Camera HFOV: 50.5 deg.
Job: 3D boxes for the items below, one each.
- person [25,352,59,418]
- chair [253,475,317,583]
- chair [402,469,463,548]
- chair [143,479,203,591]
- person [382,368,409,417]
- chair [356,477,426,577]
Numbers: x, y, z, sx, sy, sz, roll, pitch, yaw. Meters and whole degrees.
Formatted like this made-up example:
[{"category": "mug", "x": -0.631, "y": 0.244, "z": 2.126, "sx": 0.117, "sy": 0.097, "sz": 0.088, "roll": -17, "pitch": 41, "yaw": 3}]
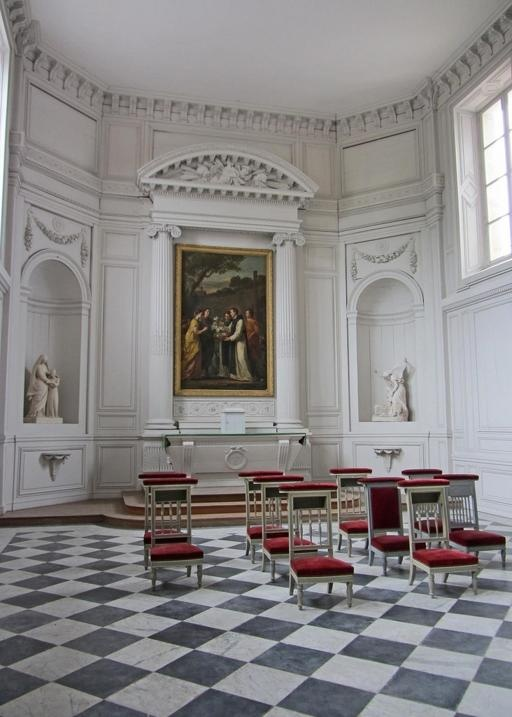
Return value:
[{"category": "person", "x": -3.722, "y": 0.552, "z": 9.493, "sx": 0.527, "sy": 1.156, "sz": 0.318, "roll": 5, "pitch": -11, "yaw": -25}, {"category": "chair", "x": 0.295, "y": 1.679, "z": 5.257, "sx": 0.608, "sy": 0.763, "sz": 0.609, "roll": 4, "pitch": -6, "yaw": 17}, {"category": "chair", "x": 1.548, "y": 1.488, "z": 4.928, "sx": 0.495, "sy": 0.686, "sz": 0.518, "roll": -6, "pitch": -18, "yaw": 16}, {"category": "chair", "x": -0.945, "y": 1.740, "z": 5.690, "sx": 0.555, "sy": 0.949, "sz": 1.552, "roll": 0, "pitch": -11, "yaw": -16}, {"category": "person", "x": 2.785, "y": 0.716, "z": 10.785, "sx": 0.471, "sy": 1.108, "sz": 0.318, "roll": -3, "pitch": -11, "yaw": 12}, {"category": "chair", "x": 1.378, "y": 1.677, "z": 5.454, "sx": 0.551, "sy": 0.876, "sz": 0.619, "roll": 3, "pitch": -11, "yaw": -14}]
